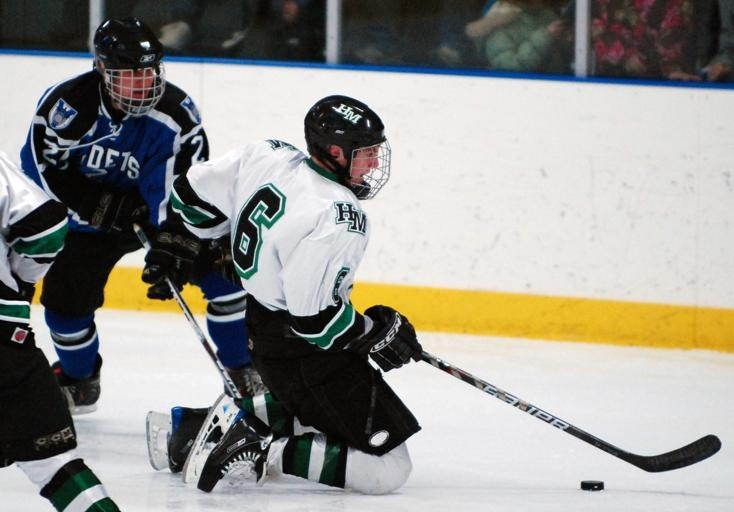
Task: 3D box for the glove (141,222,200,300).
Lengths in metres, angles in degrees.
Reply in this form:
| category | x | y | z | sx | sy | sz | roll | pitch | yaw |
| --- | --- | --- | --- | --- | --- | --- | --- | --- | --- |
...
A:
| category | x | y | z | sx | sy | sz | roll | pitch | yaw |
| --- | --- | --- | --- | --- | --- | --- | --- | --- | --- |
| glove | -0.976 | 0.009 | 4.936 | 0.242 | 0.406 | 0.171 | 8 | 6 | -17 |

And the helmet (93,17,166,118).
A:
| category | x | y | z | sx | sy | sz | roll | pitch | yaw |
| --- | --- | --- | --- | --- | --- | --- | --- | --- | --- |
| helmet | -1.171 | -0.945 | 4.866 | 0.318 | 0.407 | 0.431 | -16 | 38 | -38 |

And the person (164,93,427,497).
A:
| category | x | y | z | sx | sy | sz | roll | pitch | yaw |
| --- | --- | --- | --- | --- | --- | --- | --- | --- | --- |
| person | -0.293 | 0.185 | 4.658 | 1.228 | 1.781 | 0.944 | 13 | 14 | 25 |

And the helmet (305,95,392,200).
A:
| category | x | y | z | sx | sy | sz | roll | pitch | yaw |
| --- | --- | --- | --- | --- | --- | --- | --- | --- | --- |
| helmet | -0.096 | -0.506 | 4.486 | 0.406 | 0.419 | 0.337 | 19 | 27 | 15 |
